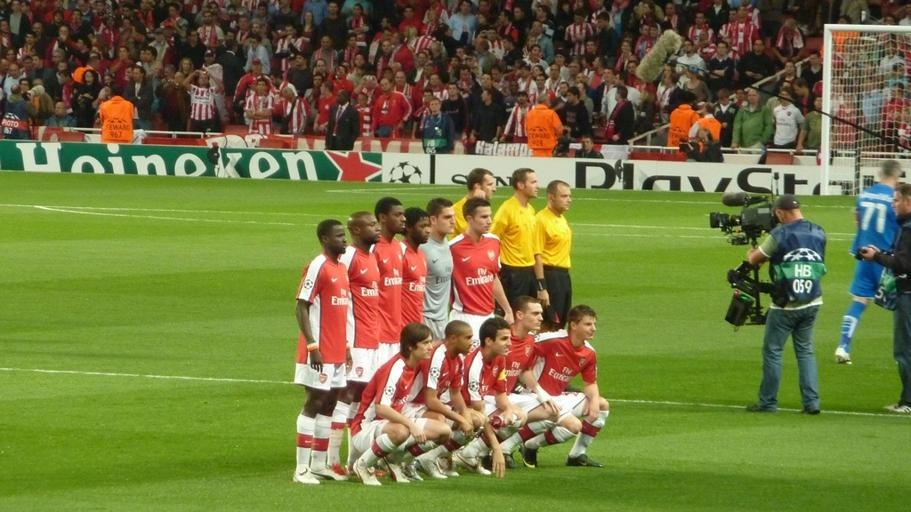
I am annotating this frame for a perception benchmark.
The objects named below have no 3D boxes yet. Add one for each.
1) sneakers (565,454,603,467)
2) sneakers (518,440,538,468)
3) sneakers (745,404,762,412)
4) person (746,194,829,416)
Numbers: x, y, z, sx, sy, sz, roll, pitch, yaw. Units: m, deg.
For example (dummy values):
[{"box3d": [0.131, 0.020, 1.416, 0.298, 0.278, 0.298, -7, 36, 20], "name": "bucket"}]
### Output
[{"box3d": [2.176, 3.471, 27.321, 0.614, 0.207, 0.219, 0, -1, 4], "name": "sneakers"}, {"box3d": [1.251, 3.398, 27.511, 0.287, 0.425, 0.300, -1, 3, 1], "name": "sneakers"}, {"box3d": [5.384, 2.740, 29.085, 0.255, 0.101, 0.121, 5, 3, 7], "name": "sneakers"}, {"box3d": [5.980, 0.863, 29.038, 1.324, 3.978, 0.565, -1, 3, 4], "name": "person"}]
